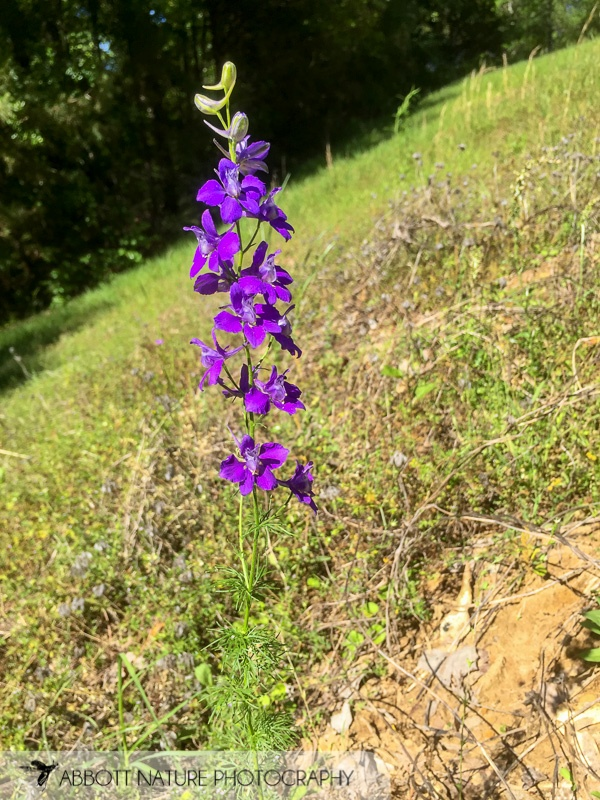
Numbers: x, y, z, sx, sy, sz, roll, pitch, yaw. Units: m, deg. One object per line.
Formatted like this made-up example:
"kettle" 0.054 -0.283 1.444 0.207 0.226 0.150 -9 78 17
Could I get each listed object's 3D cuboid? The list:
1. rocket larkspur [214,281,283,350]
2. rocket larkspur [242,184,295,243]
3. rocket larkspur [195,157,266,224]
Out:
"rocket larkspur" -0.190 -0.315 2.877 0.258 0.247 0.218 10 -5 0
"rocket larkspur" -0.123 -0.695 2.878 0.215 0.145 0.210 12 0 -5
"rocket larkspur" -0.272 -0.774 2.764 0.258 0.243 0.217 -28 27 -18
